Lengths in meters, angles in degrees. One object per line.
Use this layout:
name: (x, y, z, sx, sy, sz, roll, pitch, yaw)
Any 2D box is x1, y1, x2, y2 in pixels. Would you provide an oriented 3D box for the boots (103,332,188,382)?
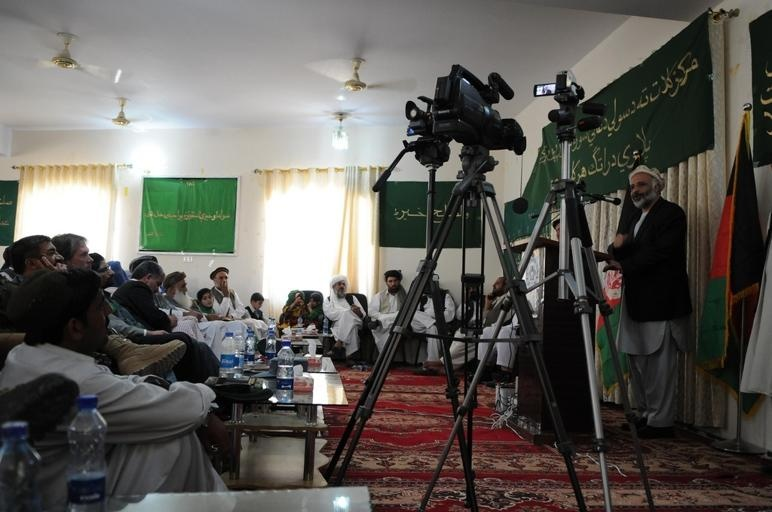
boots: (-1.558, 0.576, 3.429, 0.430, 0.142, 0.306, 2, -39, -11)

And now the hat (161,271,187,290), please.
hat: (-2.604, 0.305, 6.926, 0.240, 0.098, 0.170, -9, 3, 3)

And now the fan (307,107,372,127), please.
fan: (-0.650, -2.050, 8.313, 0.684, 0.116, 0.518, 1, -1, 41)

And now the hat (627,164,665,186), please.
hat: (2.153, -0.663, 4.578, 0.273, 0.135, 0.244, 12, 0, 1)

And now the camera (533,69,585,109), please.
camera: (0.957, -0.984, 3.160, 0.303, 0.155, 0.303, -1, -7, 14)

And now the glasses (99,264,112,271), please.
glasses: (-2.399, 0.112, 4.802, 0.083, 0.026, 0.082, -5, 4, -14)
